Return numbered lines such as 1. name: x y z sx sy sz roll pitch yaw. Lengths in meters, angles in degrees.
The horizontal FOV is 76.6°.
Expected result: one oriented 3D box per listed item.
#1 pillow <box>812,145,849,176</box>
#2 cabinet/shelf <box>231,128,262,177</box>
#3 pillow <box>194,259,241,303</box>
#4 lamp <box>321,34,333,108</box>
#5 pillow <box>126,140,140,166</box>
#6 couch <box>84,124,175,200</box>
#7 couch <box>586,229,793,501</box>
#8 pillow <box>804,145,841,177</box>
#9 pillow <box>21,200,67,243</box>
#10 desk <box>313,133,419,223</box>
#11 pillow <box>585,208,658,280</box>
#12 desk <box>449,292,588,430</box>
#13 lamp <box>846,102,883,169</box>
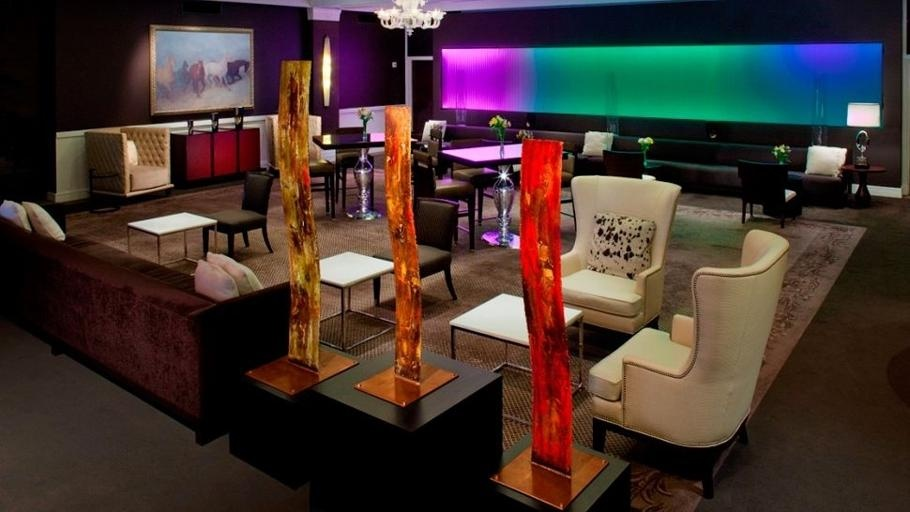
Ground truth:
1. pillow: 7.071 -1.818 10.878 0.600 0.578 0.282 14 4 37
2. cabinet/shelf: -4.619 -2.187 12.136 1.051 0.922 0.356 6 8 31
3. pillow: -2.078 0.223 5.056 0.350 0.192 0.145 14 15 36
4. lamp: -3.075 -4.455 13.901 0.133 1.617 0.360 11 24 32
5. pillow: -6.009 -1.925 10.718 0.132 0.404 0.429 1 5 16
6. couch: -6.097 -1.750 11.013 1.350 1.564 1.640 4 9 29
7. couch: 1.909 0.874 4.681 1.553 1.889 0.928 0 20 4
8. pillow: 7.059 -1.808 10.879 0.609 0.588 0.288 15 2 37
9. pillow: -4.726 -0.389 6.598 0.257 0.207 0.549 -5 29 -33
10. desk: -1.564 -1.562 10.552 1.962 1.738 1.877 -4 11 -14
11. pillow: 1.846 -0.124 6.194 0.729 0.640 0.278 9 -1 29
12. desk: 0.592 0.923 5.794 1.232 1.010 1.315 11 19 37
13. lamp: 7.716 -2.311 10.896 0.545 1.152 1.093 12 24 32
